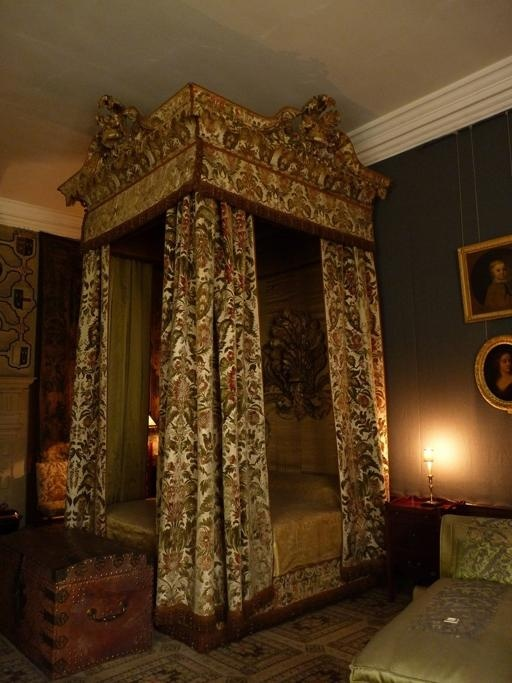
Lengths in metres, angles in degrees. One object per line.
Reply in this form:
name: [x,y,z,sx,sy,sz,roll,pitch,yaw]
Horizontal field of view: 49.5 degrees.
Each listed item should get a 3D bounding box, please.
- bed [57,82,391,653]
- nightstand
bed: [-0.240,0.089,3.907,2.272,3.033,2.212,-1,-2,-20]
nightstand: [1.059,1.332,3.477,0.423,0.594,0.432,-2,-15,25]
